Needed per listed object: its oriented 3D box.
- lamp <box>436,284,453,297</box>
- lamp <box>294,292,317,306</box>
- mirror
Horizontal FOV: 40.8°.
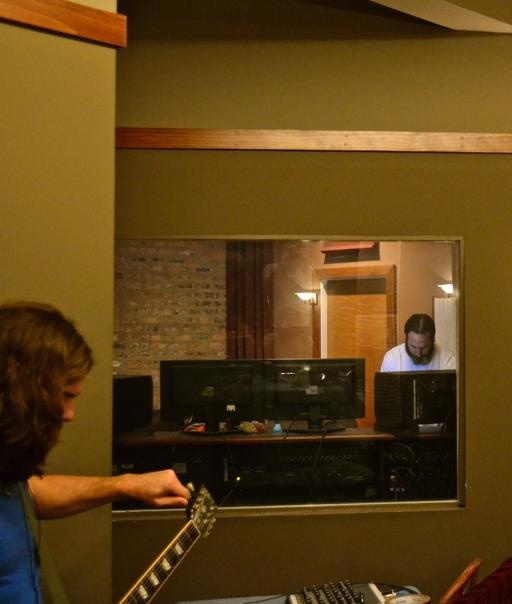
[{"bbox_3d":[1.055,-0.064,3.889,0.079,0.072,0.075,0,-5,4],"label":"lamp"},{"bbox_3d":[0.262,-0.011,3.753,0.101,0.069,0.079,-2,-8,21],"label":"lamp"},{"bbox_3d":[0.237,0.382,3.783,2.178,1.520,0.035,3,-10,-26],"label":"mirror"}]
